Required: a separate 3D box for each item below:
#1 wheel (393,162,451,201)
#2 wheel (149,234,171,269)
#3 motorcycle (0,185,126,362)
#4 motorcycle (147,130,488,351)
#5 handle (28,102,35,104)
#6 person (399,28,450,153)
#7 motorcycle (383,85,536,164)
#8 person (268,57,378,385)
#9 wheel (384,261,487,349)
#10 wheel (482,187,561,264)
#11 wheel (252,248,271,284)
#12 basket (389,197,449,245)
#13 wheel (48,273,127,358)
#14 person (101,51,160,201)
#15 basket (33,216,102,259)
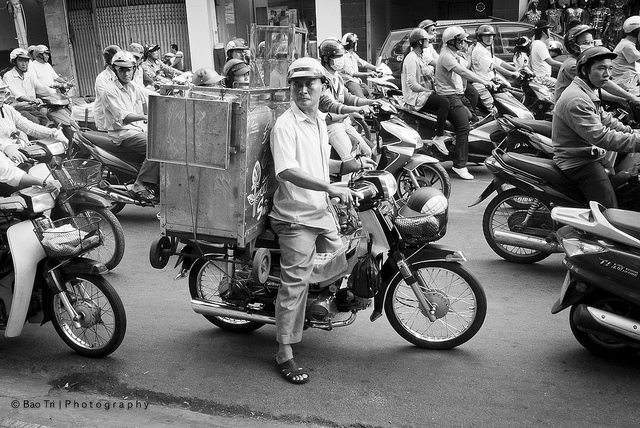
[{"bbox_3d":[1.615,-0.551,8.298,0.852,0.658,1.009,3,17,5],"label":"wheel"},{"bbox_3d":[-1.416,0.341,4.940,0.151,0.284,0.296,5,-4,18],"label":"wheel"},{"bbox_3d":[-2.382,0.534,5.048,1.215,1.474,0.904,-2,18,-9],"label":"motorcycle"},{"bbox_3d":[-0.083,0.346,5.017,3.160,1.724,1.210,2,9,12],"label":"motorcycle"},{"bbox_3d":[-6.139,-2.361,11.647,0.101,0.033,0.099,3,6,10],"label":"handle"},{"bbox_3d":[1.978,-2.227,9.781,0.580,2.038,1.096,-11,22,-32],"label":"person"},{"bbox_3d":[3.020,-1.578,9.760,2.447,1.338,0.915,1,8,-17],"label":"motorcycle"},{"bbox_3d":[-0.064,0.040,4.671,0.692,2.619,0.933,-1,18,-5],"label":"person"},{"bbox_3d":[1.083,0.851,5.022,0.825,0.791,0.244,-2,5,7],"label":"wheel"},{"bbox_3d":[2.483,0.139,6.475,0.921,0.898,0.294,2,-9,18],"label":"wheel"},{"bbox_3d":[-0.471,0.435,4.683,0.080,0.294,0.304,1,-6,11],"label":"wheel"},{"bbox_3d":[0.894,0.078,4.794,0.504,0.357,0.259,4,18,9],"label":"basket"},{"bbox_3d":[-2.182,0.866,5.070,0.580,0.799,0.881,-9,20,-29],"label":"wheel"},{"bbox_3d":[-2.797,-1.326,7.981,0.666,1.992,1.557,-6,19,-20],"label":"person"},{"bbox_3d":[-2.446,0.158,5.128,0.555,0.301,0.687,-5,-2,-1],"label":"basket"}]
